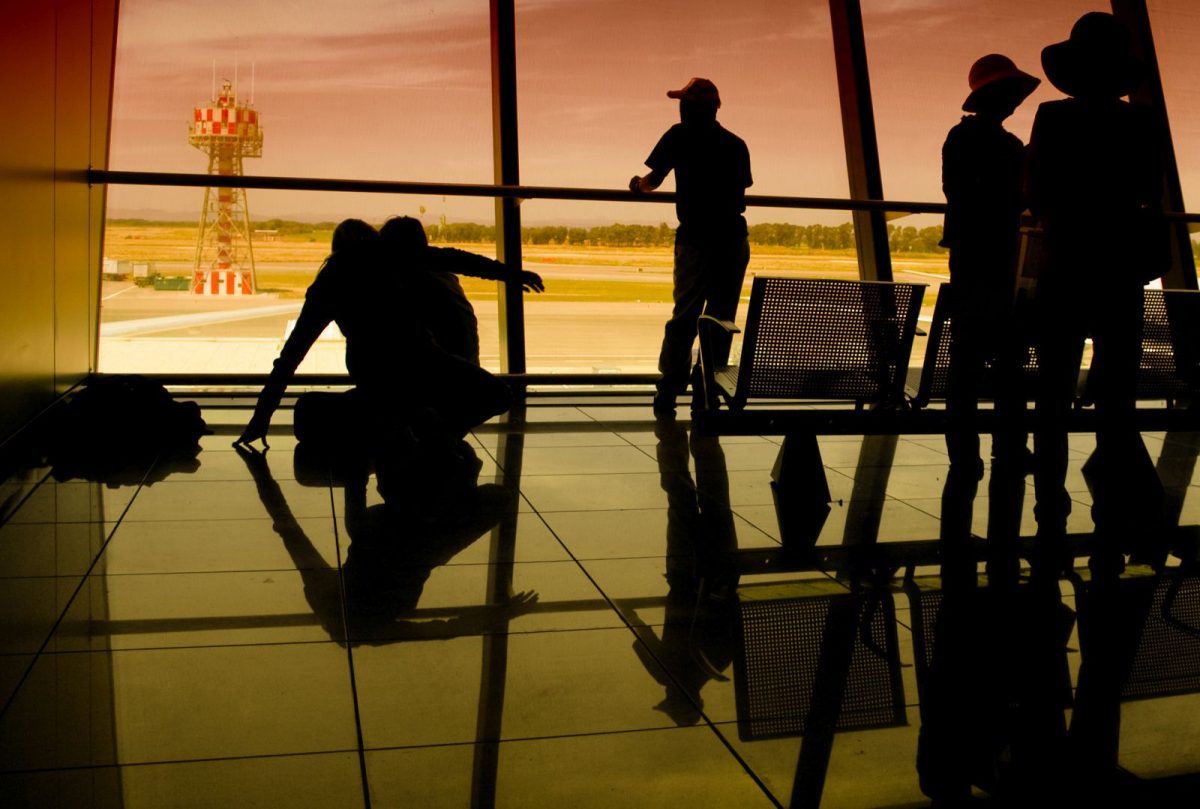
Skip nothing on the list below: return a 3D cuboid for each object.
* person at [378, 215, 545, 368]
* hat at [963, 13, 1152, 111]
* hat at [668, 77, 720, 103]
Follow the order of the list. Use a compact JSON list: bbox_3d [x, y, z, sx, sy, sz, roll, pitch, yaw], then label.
[{"bbox_3d":[-0.736,-0.606,5.572,0.910,0.931,0.286,-8,39,15],"label":"person"},{"bbox_3d":[1.810,-1.368,4.441,0.734,0.298,0.499,-10,-4,37],"label":"hat"},{"bbox_3d":[0.521,-1.703,5.848,0.246,0.098,0.157,5,29,-1],"label":"hat"}]
